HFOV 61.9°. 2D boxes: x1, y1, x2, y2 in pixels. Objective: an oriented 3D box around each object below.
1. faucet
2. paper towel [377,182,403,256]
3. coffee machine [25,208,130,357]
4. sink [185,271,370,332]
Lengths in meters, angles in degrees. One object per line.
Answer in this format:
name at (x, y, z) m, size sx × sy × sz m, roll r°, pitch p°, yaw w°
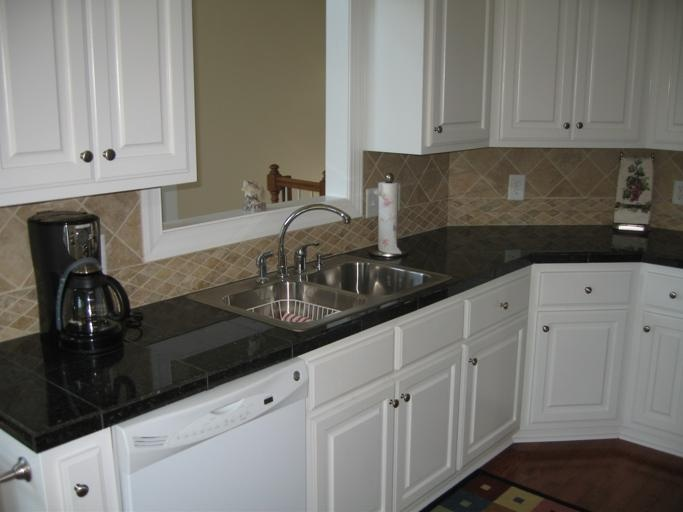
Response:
faucet at (-0.150, -0.103, 2.640) m, size 0.313 × 0.302 × 0.432 m, roll -4°, pitch 14°, yaw -7°
paper towel at (0.240, -0.203, 2.924) m, size 0.119 × 0.359 × 0.237 m, roll -1°, pitch 14°, yaw 3°
coffee machine at (-0.886, 0.074, 1.920) m, size 0.277 × 0.436 × 0.316 m, roll -11°, pitch 17°, yaw -32°
sink at (-0.296, 0.201, 2.390) m, size 0.317 × 0.149 × 0.378 m, roll 18°, pitch 25°, yaw 39°
